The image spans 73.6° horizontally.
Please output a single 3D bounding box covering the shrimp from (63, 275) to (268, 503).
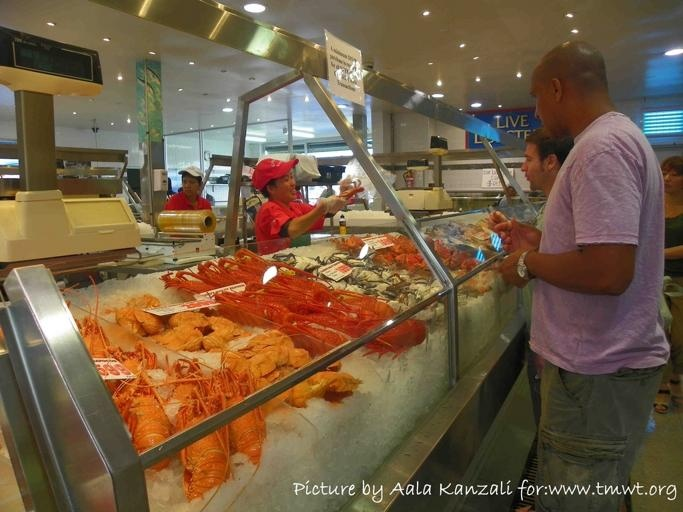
[{"bbox_3d":[-0.368,0.287,1.131,0.422,0.425,0.691,-13,12,-36],"label":"shrimp"}]

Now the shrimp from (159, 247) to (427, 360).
[{"bbox_3d":[-0.152,0.066,1.443,0.552,0.262,0.649,8,8,40],"label":"shrimp"}]

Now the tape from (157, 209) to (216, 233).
[{"bbox_3d":[-0.798,-0.169,2.426,0.314,0.129,0.139,-1,-2,29],"label":"tape"}]
